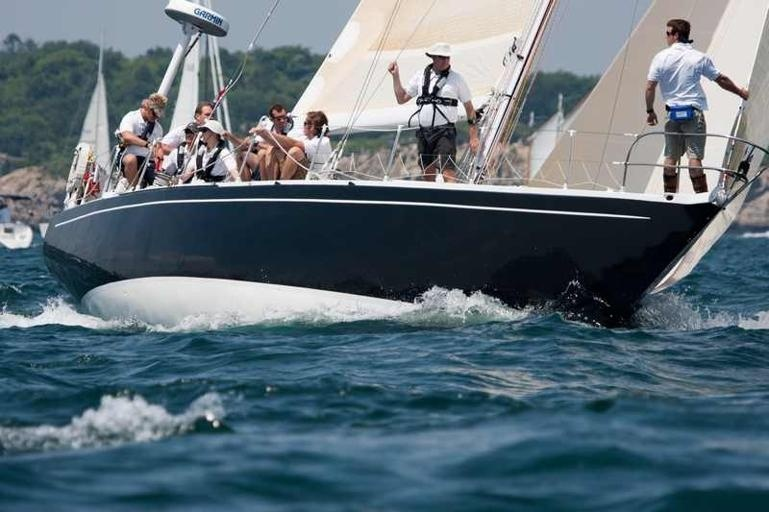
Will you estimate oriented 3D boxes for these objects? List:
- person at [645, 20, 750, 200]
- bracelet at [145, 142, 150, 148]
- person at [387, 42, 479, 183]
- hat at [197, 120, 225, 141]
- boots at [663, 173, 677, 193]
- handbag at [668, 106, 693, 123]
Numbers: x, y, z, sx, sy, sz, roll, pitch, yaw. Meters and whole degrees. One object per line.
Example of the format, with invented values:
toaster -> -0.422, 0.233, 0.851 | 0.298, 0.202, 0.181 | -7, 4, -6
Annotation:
person -> 3.025, -1.502, 12.688 | 0.916, 1.363, 0.659 | 11, 6, 26
bracelet -> -2.761, -1.293, 14.710 | 0.062, 0.047, 0.060 | -1, -12, 6
person -> 0.523, -1.529, 13.428 | 0.906, 1.440, 0.806 | 12, 6, 36
hat -> -1.891, -1.415, 13.905 | 0.292, 0.147, 0.204 | 33, -3, -28
boots -> 2.891, -0.743, 12.855 | 0.173, 0.225, 0.168 | 1, -5, 0
handbag -> 2.959, -1.426, 12.610 | 0.204, 0.132, 0.144 | 2, -2, 28
